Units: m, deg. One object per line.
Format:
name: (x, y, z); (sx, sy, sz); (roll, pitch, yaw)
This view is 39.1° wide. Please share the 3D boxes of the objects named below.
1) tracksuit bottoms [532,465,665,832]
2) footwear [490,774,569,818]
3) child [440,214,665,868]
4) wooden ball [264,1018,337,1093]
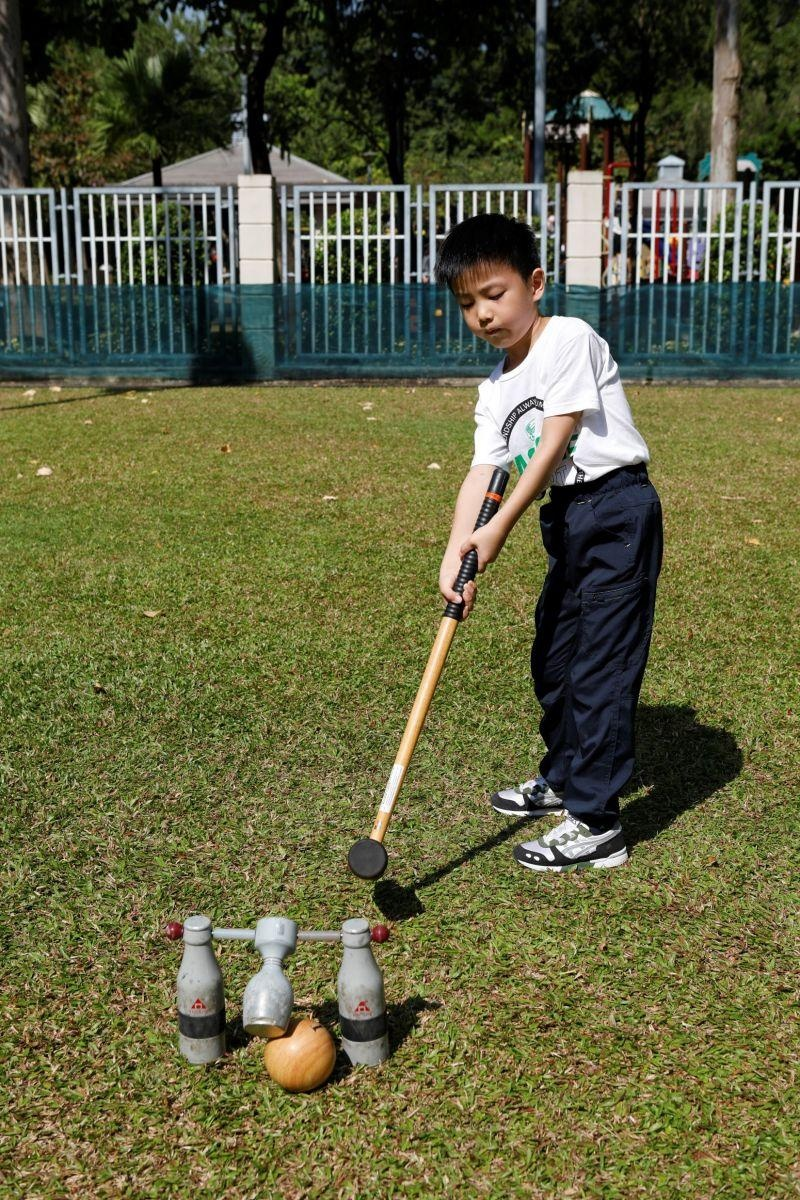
tracksuit bottoms: (0.449, 0.090, 2.621); (0.244, 0.847, 0.369); (7, -2, -11)
footwear: (0.341, 0.505, 2.921); (0.192, 0.086, 0.083); (0, 13, -3)
child: (0.355, -0.135, 2.569); (0.498, 1.403, 0.466); (1, 8, 15)
wooden ball: (-0.152, 0.707, 1.745); (0.102, 0.088, 0.059); (-3, 15, -12)
